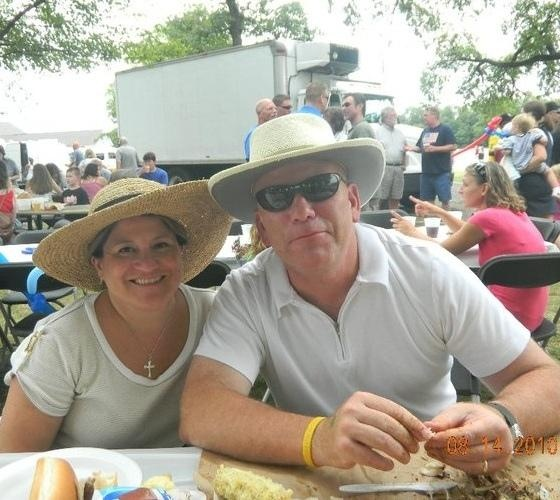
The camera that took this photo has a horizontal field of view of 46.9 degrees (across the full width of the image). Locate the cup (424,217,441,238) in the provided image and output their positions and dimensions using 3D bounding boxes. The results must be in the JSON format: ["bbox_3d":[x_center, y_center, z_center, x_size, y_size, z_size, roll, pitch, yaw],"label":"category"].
[{"bbox_3d":[1.158,-0.175,4.887,0.141,0.147,0.138,-2,1,0],"label":"cup"}]

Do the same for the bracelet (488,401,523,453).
[{"bbox_3d":[0.803,0.624,2.296,0.138,0.134,0.090,-17,6,46],"label":"bracelet"}]

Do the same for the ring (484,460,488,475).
[{"bbox_3d":[0.677,0.713,2.126,0.015,0.039,0.021,3,10,25],"label":"ring"}]

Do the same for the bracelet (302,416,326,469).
[{"bbox_3d":[0.108,0.669,2.245,0.031,0.130,0.122,0,-20,19],"label":"bracelet"}]

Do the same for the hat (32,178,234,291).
[{"bbox_3d":[-0.717,-0.083,2.834,0.687,0.247,0.631,-23,-29,15],"label":"hat"}]

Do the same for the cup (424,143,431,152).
[{"bbox_3d":[2.157,-1.508,9.470,0.109,0.122,0.113,-4,5,0],"label":"cup"}]

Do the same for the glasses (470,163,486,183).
[{"bbox_3d":[1.461,-0.561,4.710,0.051,0.103,0.135,-20,-45,42],"label":"glasses"}]

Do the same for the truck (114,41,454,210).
[{"bbox_3d":[-0.890,-2.428,13.346,7.069,3.320,2.931,5,16,39],"label":"truck"}]

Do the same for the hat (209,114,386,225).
[{"bbox_3d":[0.092,-0.380,2.955,0.556,0.219,0.595,-17,-23,4],"label":"hat"}]
